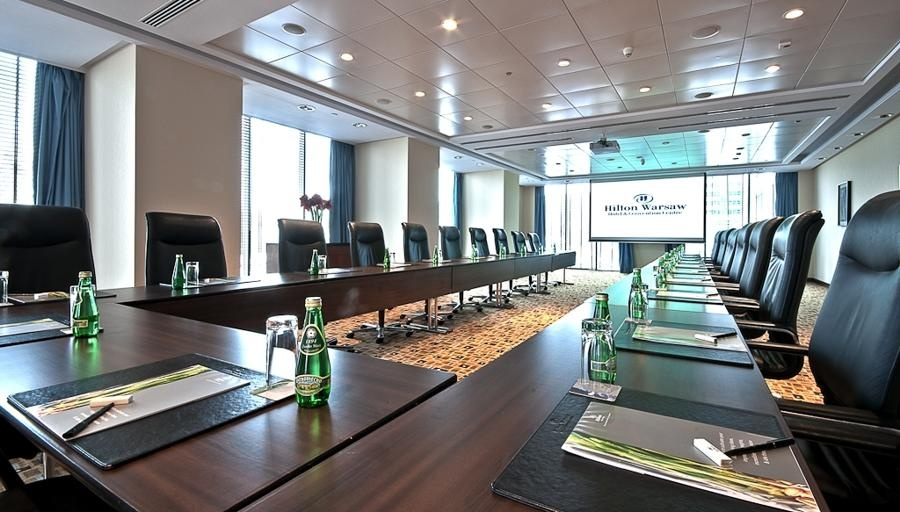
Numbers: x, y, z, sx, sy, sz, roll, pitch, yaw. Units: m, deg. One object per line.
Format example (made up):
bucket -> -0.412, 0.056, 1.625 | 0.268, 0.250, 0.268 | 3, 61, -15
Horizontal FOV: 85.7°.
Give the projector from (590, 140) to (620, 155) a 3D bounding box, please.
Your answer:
projector -> 2.738, -1.946, 8.525 | 0.436, 0.224, 0.406 | 0, 4, 30
